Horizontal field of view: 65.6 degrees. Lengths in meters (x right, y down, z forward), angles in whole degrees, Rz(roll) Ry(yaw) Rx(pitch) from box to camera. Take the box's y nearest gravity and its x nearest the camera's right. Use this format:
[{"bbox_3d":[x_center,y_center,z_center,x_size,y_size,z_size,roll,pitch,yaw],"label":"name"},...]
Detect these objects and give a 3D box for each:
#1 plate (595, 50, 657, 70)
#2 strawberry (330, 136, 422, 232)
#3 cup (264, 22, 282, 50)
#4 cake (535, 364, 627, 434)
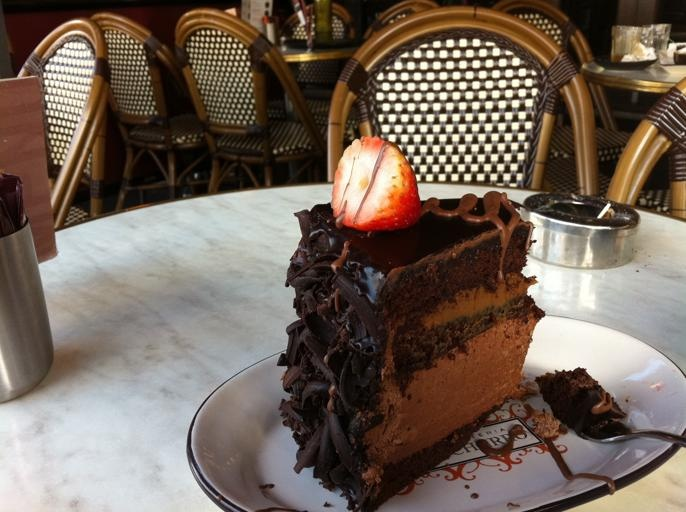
[{"bbox_3d":[1.314,-0.910,2.519,0.202,0.054,0.271,-13,25,-39],"label":"plate"},{"bbox_3d":[0.043,-0.092,0.725,0.128,0.132,0.156,0,20,-1],"label":"strawberry"},{"bbox_3d":[-0.511,-1.603,3.842,0.116,0.172,0.342,0,20,-7],"label":"cup"},{"bbox_3d":[0.327,0.194,0.730,0.061,0.035,0.084,-12,25,-5],"label":"cake"}]
